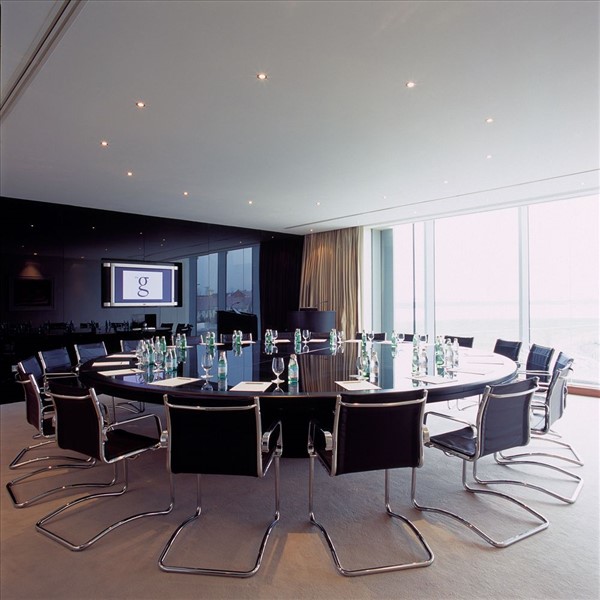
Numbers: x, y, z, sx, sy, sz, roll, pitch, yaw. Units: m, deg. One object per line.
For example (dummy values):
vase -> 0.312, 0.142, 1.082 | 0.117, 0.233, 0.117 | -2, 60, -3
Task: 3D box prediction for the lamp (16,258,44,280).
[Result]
lamp -> -3.772, -0.415, 6.644 | 0.196, 0.287, 0.222 | 2, 5, -10
